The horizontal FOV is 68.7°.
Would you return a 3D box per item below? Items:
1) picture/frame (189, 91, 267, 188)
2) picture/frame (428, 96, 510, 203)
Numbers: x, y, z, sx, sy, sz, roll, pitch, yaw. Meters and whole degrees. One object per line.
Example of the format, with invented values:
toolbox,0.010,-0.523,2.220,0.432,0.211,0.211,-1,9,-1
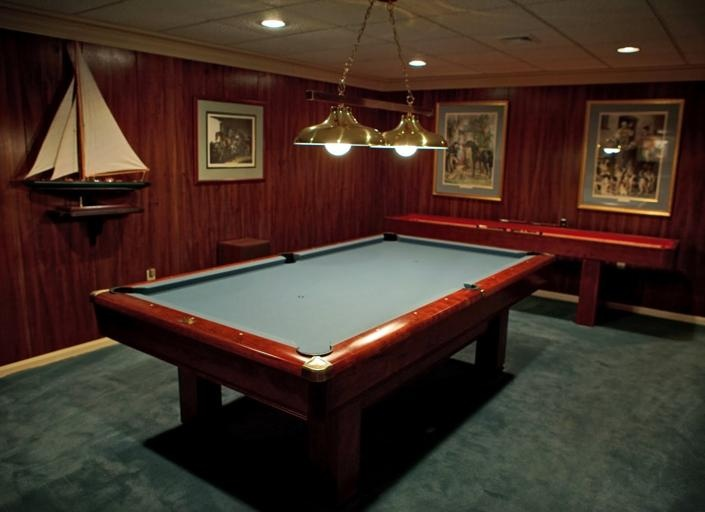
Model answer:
picture/frame,-1.350,-1.253,5.491,0.094,1.087,1.139,6,8,41
picture/frame,1.553,-1.400,6.635,1.345,1.708,0.073,8,17,34
